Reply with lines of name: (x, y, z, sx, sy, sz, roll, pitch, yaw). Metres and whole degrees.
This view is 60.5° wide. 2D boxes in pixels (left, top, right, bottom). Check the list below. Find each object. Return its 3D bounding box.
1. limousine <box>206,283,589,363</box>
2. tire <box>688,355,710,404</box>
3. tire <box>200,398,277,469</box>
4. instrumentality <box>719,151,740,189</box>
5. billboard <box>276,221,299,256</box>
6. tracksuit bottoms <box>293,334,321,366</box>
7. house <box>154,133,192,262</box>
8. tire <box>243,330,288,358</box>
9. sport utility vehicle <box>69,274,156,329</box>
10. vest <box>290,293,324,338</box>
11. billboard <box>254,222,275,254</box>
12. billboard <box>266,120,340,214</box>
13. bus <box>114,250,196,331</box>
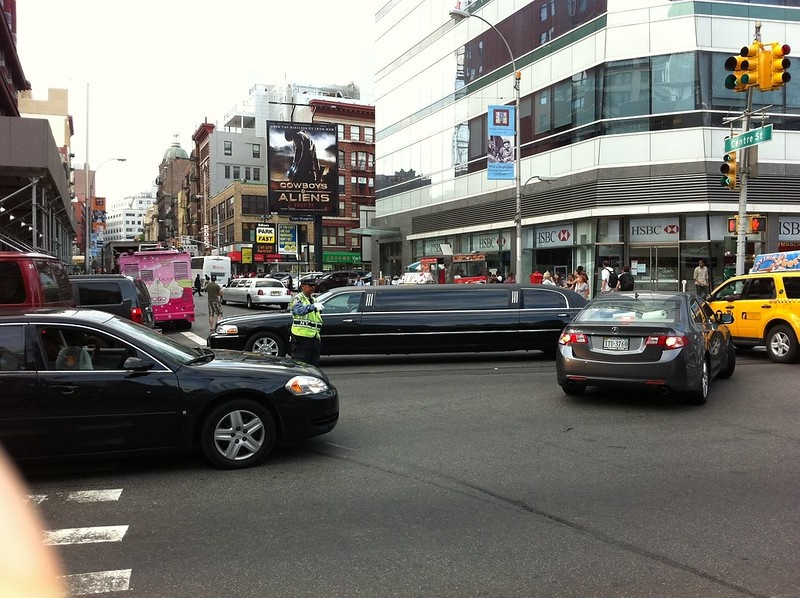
limousine: (0.291, 0.540, 14.717, 6.137, 1.257, 1.712, 1, -1, -3)
tire: (4.565, 1.237, 10.527, 0.208, 0.706, 0.651, 2, 11, 35)
tire: (-1.883, 1.521, 7.842, 0.726, 0.826, 0.270, -1, -1, -16)
instrumentality: (9.090, -3.622, 18.902, 0.421, 1.125, 0.275, -13, 17, -29)
billboard: (-12.917, -6.787, 78.028, 2.266, 3.469, 9.943, -1, 6, -10)
tracksuit bottoms: (-1.631, 0.868, 12.245, 0.407, 0.826, 0.575, 0, 5, 5)
house: (-48.428, -22.168, 145.957, 7.339, 21.712, 6.942, -7, 17, -33)
tire: (-2.721, 0.870, 13.675, 0.498, 0.566, 0.180, 1, 0, -20)
sport utility vehicle: (-7.058, -0.010, 17.256, 2.380, 1.414, 1.439, 4, 1, 1)
vest: (-1.602, 0.256, 11.984, 0.588, 0.800, 0.763, 1, -1, 23)
billboard: (-16.297, -7.004, 82.604, 3.392, 3.766, 3.321, -3, 12, -13)
billboard: (-6.947, -9.307, 48.376, 5.721, 7.870, 0.521, -2, 5, -27)
bus: (-8.538, -0.501, 24.777, 2.029, 2.308, 3.600, -1, 3, -22)
